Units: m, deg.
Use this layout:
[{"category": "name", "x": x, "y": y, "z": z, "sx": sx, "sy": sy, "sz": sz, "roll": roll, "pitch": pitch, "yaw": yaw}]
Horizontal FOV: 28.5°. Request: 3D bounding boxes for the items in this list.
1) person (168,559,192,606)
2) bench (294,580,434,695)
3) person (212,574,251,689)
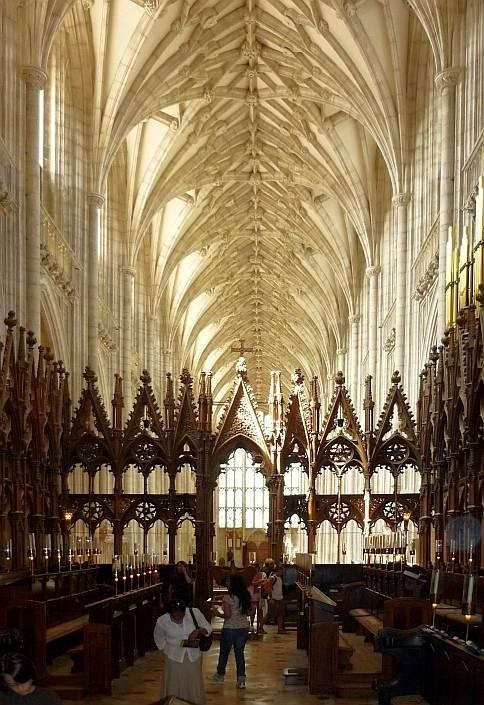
[{"category": "person", "x": -0.709, "y": 2.739, "z": 10.795, "sx": 0.224, "sy": 0.786, "sz": 0.219, "roll": 2, "pitch": 10, "yaw": 1}, {"category": "bench", "x": 1.392, "y": 3.282, "z": 11.297, "sx": 1.203, "sy": 1.021, "sz": 8.223, "roll": -1, "pitch": -13, "yaw": 4}, {"category": "person", "x": -0.108, "y": 2.948, "z": 10.186, "sx": 0.377, "sy": 1.128, "sz": 1.025, "roll": 0, "pitch": -12, "yaw": -2}]
